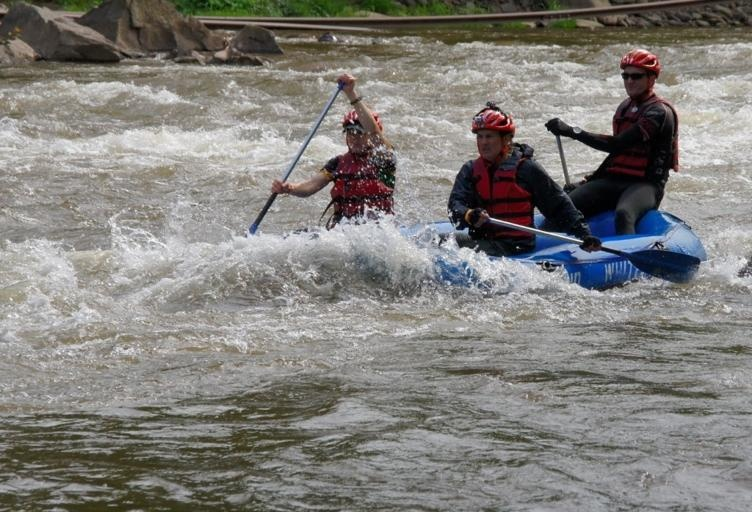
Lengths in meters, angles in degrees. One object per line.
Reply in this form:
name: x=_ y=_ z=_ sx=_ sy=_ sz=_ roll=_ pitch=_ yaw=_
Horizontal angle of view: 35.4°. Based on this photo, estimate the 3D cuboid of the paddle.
paddle: x=2.388 y=0.001 z=12.358 sx=1.948 sy=0.222 sz=0.858 roll=9 pitch=13 yaw=3

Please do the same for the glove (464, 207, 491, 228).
glove: x=1.030 y=-0.380 z=12.173 sx=0.244 sy=0.239 sz=0.292 roll=-6 pitch=14 yaw=-10

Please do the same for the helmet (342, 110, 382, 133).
helmet: x=-0.164 y=-1.437 z=12.435 sx=0.384 sy=0.229 sz=0.336 roll=-4 pitch=13 yaw=-3

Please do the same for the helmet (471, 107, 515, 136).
helmet: x=1.151 y=-1.411 z=12.064 sx=0.456 sy=0.174 sz=0.309 roll=19 pitch=-29 yaw=-32

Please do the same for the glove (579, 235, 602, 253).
glove: x=2.199 y=-0.117 z=12.109 sx=0.217 sy=0.201 sz=0.175 roll=-2 pitch=15 yaw=8
